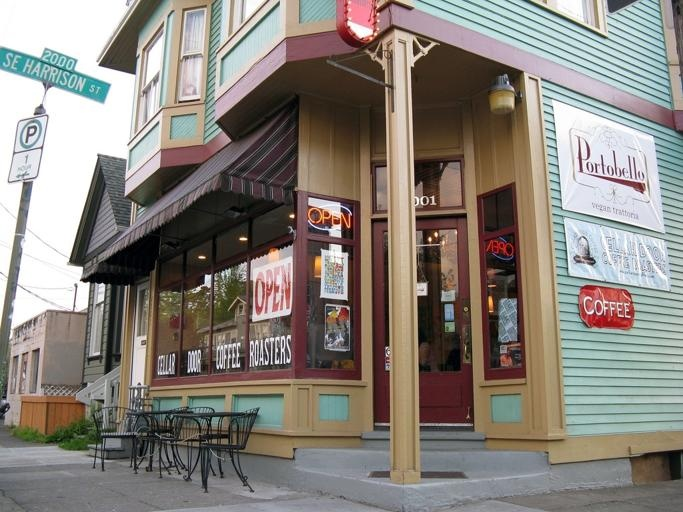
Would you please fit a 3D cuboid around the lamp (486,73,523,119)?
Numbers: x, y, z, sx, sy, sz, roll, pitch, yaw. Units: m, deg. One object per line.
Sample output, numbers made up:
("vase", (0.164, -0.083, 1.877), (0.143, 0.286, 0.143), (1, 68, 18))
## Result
("lamp", (2.545, -2.517, 8.898), (0.403, 0.613, 0.585), (-6, -10, 40))
